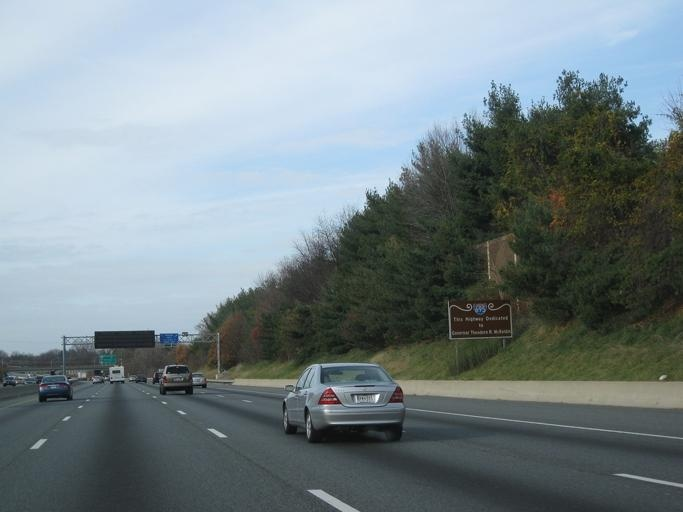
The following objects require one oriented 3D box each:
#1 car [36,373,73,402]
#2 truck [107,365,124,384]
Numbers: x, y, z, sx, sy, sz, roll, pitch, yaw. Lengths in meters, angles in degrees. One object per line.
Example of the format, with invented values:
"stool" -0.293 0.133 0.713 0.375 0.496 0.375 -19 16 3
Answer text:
"car" -16.442 7.722 44.854 1.012 0.939 2.653 0 -2 -6
"truck" -32.333 17.023 110.841 1.767 2.247 3.347 1 -3 -19
